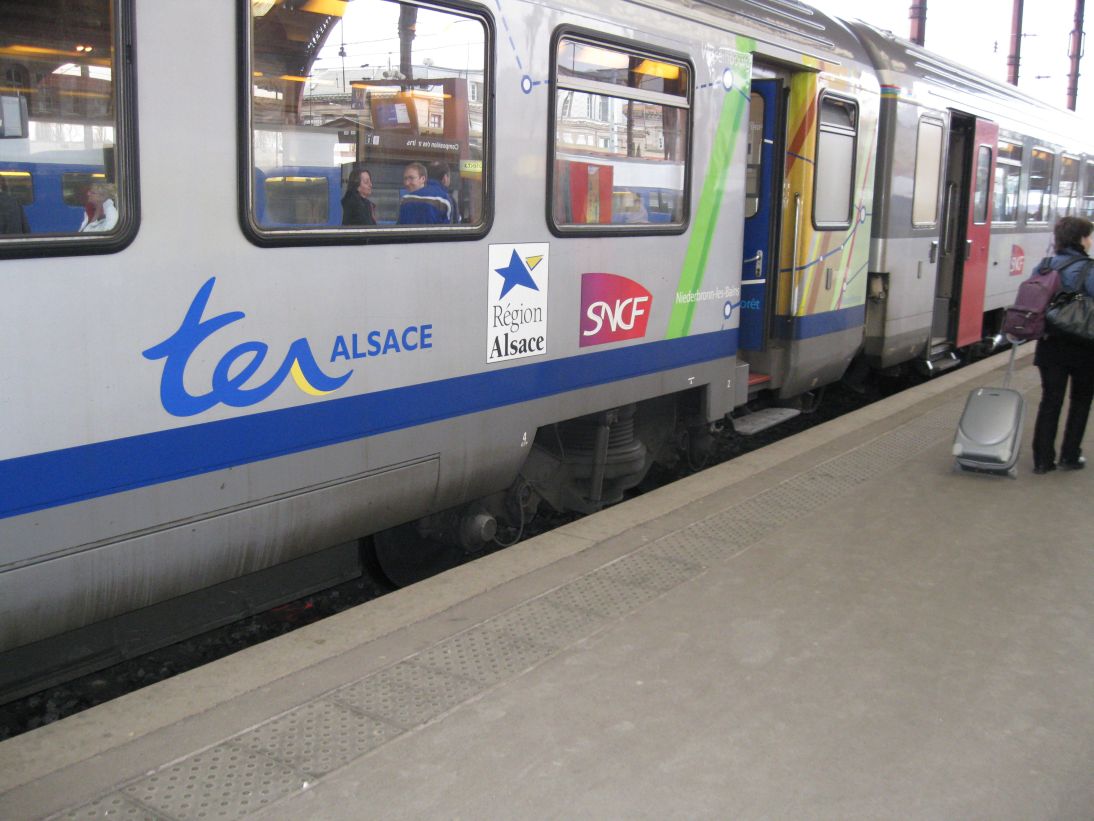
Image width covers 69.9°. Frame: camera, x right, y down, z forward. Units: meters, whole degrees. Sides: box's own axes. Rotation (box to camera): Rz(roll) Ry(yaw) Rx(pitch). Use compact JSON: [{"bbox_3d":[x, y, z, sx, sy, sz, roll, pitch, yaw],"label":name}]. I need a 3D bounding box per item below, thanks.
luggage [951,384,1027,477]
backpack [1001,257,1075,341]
[{"bbox_3d":[3.435,0.145,6.067,0.429,0.786,0.228,7,-28,29],"label":"luggage"},{"bbox_3d":[3.695,-0.829,5.925,0.415,0.751,0.395,-6,14,-41],"label":"backpack"}]
